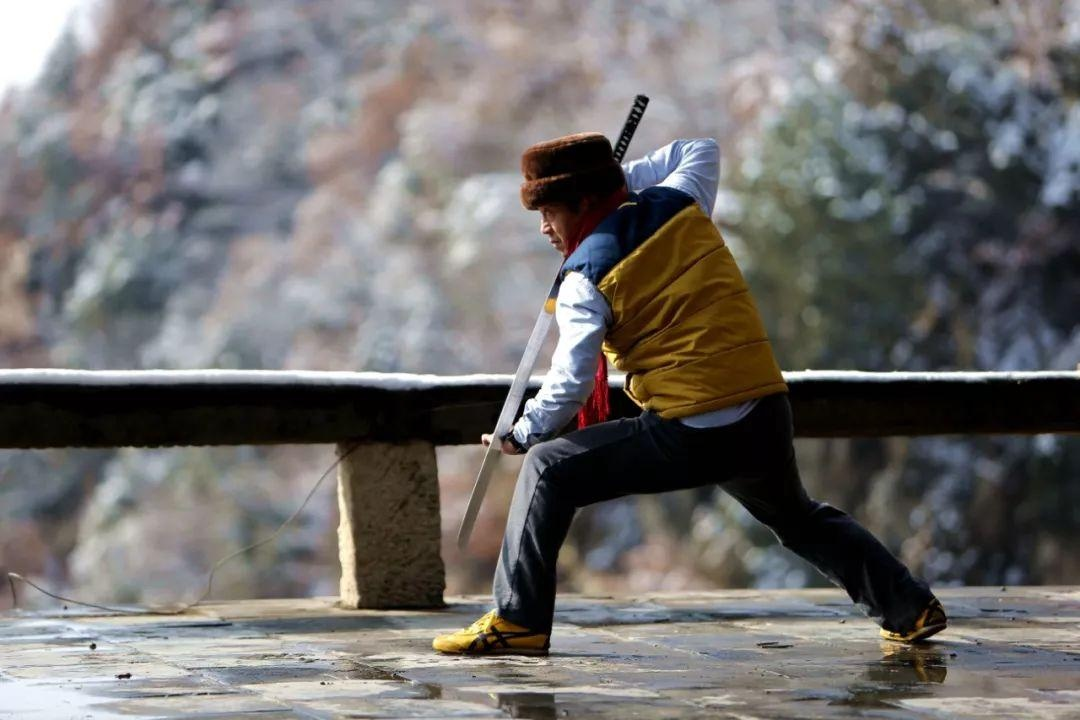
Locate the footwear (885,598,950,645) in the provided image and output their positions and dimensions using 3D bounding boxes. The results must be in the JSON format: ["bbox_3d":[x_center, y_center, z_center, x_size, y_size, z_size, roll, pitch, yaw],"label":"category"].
[{"bbox_3d":[3.346,2.375,21.234,0.271,0.697,0.312,-1,82,-25],"label":"footwear"}]

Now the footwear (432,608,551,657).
[{"bbox_3d":[-0.424,2.480,21.199,1.001,0.361,0.415,0,77,1],"label":"footwear"}]

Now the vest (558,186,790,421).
[{"bbox_3d":[1.101,-0.389,20.994,1.437,1.215,1.721,-26,55,-1],"label":"vest"}]
